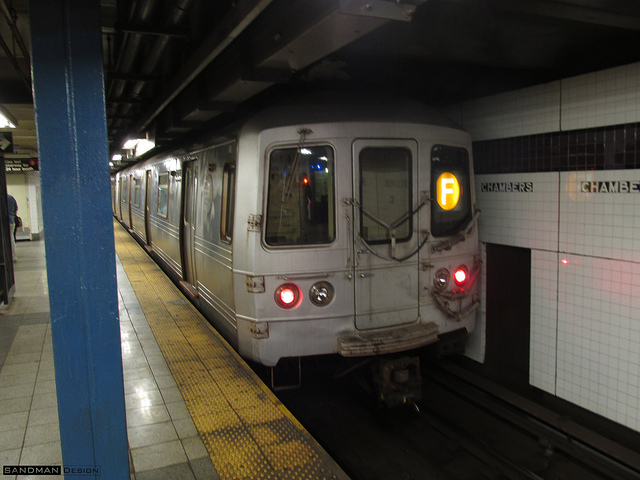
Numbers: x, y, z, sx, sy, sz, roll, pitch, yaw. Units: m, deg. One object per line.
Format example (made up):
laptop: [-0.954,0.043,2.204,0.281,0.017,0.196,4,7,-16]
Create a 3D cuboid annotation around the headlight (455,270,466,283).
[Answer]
headlight: [1.816,0.458,5.509,0.133,0.159,0.032,1,-1,-35]
